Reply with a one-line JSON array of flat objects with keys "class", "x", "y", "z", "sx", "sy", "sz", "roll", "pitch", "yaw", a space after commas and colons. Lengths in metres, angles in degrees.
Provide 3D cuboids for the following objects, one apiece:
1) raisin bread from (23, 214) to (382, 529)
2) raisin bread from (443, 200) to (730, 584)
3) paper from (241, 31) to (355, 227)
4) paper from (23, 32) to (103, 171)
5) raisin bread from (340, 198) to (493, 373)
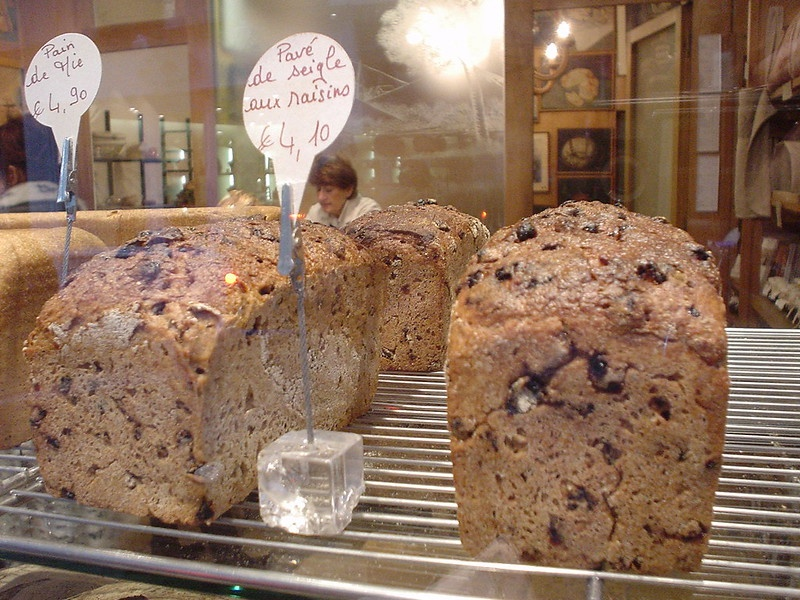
[{"class": "raisin bread", "x": -0.383, "y": 0.069, "z": 1.481, "sx": 0.419, "sy": 0.547, "sz": 0.798, "roll": 3, "pitch": 14, "yaw": 21}, {"class": "raisin bread", "x": 0.366, "y": 0.177, "z": 1.320, "sx": 0.460, "sy": 0.576, "sz": 0.717, "roll": -2, "pitch": 5, "yaw": 13}, {"class": "paper", "x": -0.195, "y": -0.335, "z": 1.170, "sx": 0.225, "sy": 0.344, "sz": 0.066, "roll": 4, "pitch": 4, "yaw": 31}, {"class": "paper", "x": -0.797, "y": -0.495, "z": 1.467, "sx": 0.238, "sy": 0.276, "sz": 0.039, "roll": 4, "pitch": 4, "yaw": 29}, {"class": "raisin bread", "x": 0.020, "y": -0.094, "z": 2.074, "sx": 0.391, "sy": 0.465, "sz": 0.619, "roll": -1, "pitch": 18, "yaw": 4}]
